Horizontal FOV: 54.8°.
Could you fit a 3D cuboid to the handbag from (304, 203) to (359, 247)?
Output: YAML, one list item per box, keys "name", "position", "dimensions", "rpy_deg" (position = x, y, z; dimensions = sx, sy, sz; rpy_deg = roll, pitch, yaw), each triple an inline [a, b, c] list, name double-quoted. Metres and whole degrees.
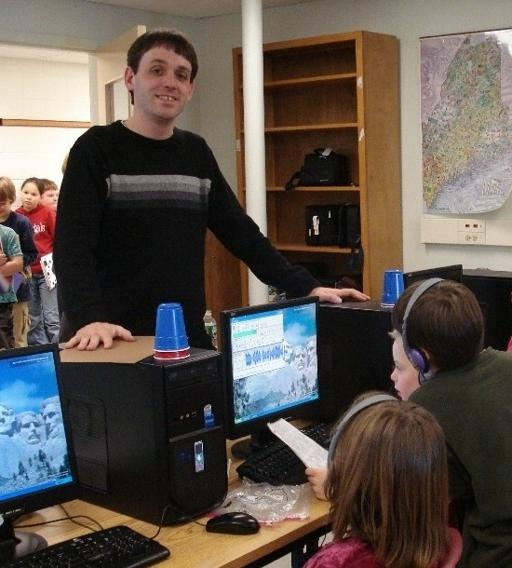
- name: "handbag"
  position: [0.693, -0.478, 4.286]
  dimensions: [0.586, 0.488, 0.340]
  rpy_deg: [3, 7, 31]

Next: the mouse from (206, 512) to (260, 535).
- name: "mouse"
  position: [-0.047, 0.478, 1.007]
  dimensions: [0.080, 0.026, 0.046]
  rpy_deg: [3, -1, 10]

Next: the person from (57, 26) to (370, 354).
- name: "person"
  position: [-0.274, -0.309, 1.715]
  dimensions: [0.797, 1.069, 0.373]
  rpy_deg: [0, 7, -41]

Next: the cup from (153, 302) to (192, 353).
- name: "cup"
  position: [-0.185, 0.098, 1.077]
  dimensions: [0.083, 0.098, 0.073]
  rpy_deg: [-5, 1, -19]

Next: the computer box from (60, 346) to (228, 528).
- name: "computer box"
  position: [-0.222, 0.304, 1.210]
  dimensions: [0.431, 0.383, 0.277]
  rpy_deg: [3, 7, 27]

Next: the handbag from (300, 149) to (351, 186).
- name: "handbag"
  position: [0.594, -0.950, 4.265]
  dimensions: [0.354, 0.330, 0.341]
  rpy_deg: [2, 7, 20]
